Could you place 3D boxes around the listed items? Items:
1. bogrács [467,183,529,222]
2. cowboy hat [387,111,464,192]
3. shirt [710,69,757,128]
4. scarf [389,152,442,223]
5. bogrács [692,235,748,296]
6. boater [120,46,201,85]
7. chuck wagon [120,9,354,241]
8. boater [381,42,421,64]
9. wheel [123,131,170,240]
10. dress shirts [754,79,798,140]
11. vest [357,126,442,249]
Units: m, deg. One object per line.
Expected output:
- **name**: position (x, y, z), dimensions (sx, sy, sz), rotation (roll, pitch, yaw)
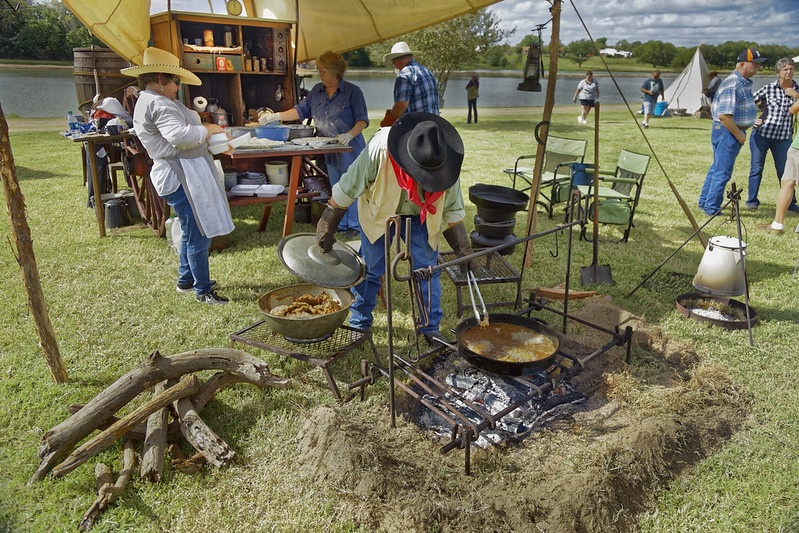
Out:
- **bogrács**: position (1.429, -0.963, 9.563), dimensions (0.638, 0.276, 0.766), rotation (22, 32, 29)
- **cowboy hat**: position (0.199, -1.176, 6.972), dimensions (0.828, 0.885, 0.340), rotation (-26, 3, -20)
- **shirt**: position (5.889, -2.899, 11.210), dimensions (0.666, 0.992, 1.194), rotation (10, 27, 40)
- **scarf**: position (0.192, -0.802, 7.020), dimensions (0.585, 0.638, 0.234), rotation (29, 66, 23)
- **bogrács**: position (4.193, -0.078, 8.504), dimensions (0.725, 0.779, 0.694), rotation (16, 27, 40)
- **boater**: position (-3.032, -2.585, 8.413), dimensions (0.686, 0.309, 0.804), rotation (1, 8, 5)
- **chuck wagon**: position (-2.948, -2.621, 11.561), dimensions (2.652, 3.313, 3.404), rotation (-7, 9, -29)
- **boater**: position (-0.104, -3.500, 10.507), dimensions (0.556, 0.220, 0.476), rotation (2, 28, 35)
- **wheel**: position (-3.916, -1.246, 9.908), dimensions (0.376, 1.277, 1.269), rotation (-10, 55, -25)
- **dress shirts**: position (6.516, -2.700, 11.063), dimensions (0.583, 0.951, 0.503), rotation (9, 24, 25)
- **vest**: position (0.015, -0.864, 6.961), dimensions (0.941, 1.268, 0.837), rotation (-12, 50, -24)
